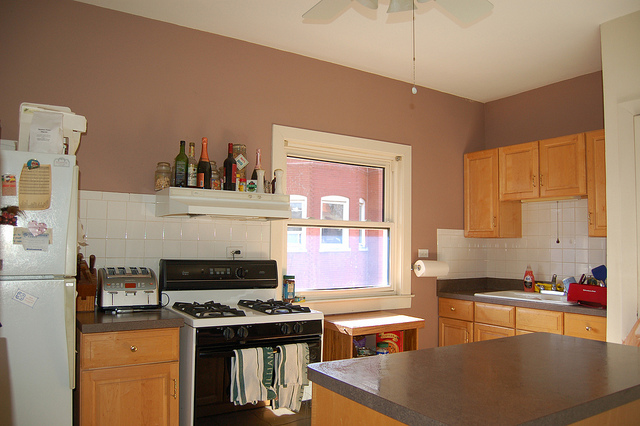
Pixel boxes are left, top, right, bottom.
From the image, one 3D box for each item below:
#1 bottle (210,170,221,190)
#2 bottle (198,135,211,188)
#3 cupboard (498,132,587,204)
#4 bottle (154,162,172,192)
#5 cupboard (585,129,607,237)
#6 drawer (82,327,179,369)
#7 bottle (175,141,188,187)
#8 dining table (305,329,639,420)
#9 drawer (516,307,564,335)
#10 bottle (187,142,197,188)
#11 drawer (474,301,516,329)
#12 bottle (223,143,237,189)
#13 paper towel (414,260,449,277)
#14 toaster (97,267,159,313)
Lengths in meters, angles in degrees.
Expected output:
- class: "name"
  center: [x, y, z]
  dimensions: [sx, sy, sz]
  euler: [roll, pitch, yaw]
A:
- class: "bottle"
  center: [-0.833, -0.268, 3.802]
  dimensions: [0.086, 0.155, 0.047]
  euler: [2, 0, -22]
- class: "bottle"
  center: [-0.921, -0.396, 3.784]
  dimensions: [0.118, 0.407, 0.118]
  euler: [2, 0, 0]
- class: "cupboard"
  center: [2.302, -0.421, 4.848]
  dimensions: [0.443, 0.570, 0.872]
  euler: [4, -5, -41]
- class: "bottle"
  center: [-1.218, -0.287, 3.777]
  dimensions: [0.112, 0.236, 0.216]
  euler: [2, 0, -37]
- class: "cupboard"
  center: [2.439, -0.270, 4.280]
  dimensions: [0.212, 0.860, 0.111]
  euler: [2, 0, 43]
- class: "drawer"
  center: [-1.272, 0.979, 3.322]
  dimensions: [0.616, 0.263, 0.409]
  euler: [-1, -31, -12]
- class: "bottle"
  center: [-1.074, -0.331, 3.707]
  dimensions: [0.093, 0.328, 0.063]
  euler: [2, 0, -19]
- class: "dining table"
  center: [0.799, 0.807, 2.321]
  dimensions: [1.182, 0.264, 0.616]
  euler: [1, -10, -28]
- class: "drawer"
  center: [1.980, 0.910, 4.313]
  dimensions: [0.220, 0.160, 0.325]
  euler: [6, -5, -32]
- class: "bottle"
  center: [-0.996, -0.370, 3.748]
  dimensions: [0.073, 0.352, 0.155]
  euler: [2, 0, -16]
- class: "drawer"
  center: [1.766, 0.986, 4.721]
  dimensions: [0.276, 0.202, 0.407]
  euler: [3, -2, -39]
- class: "bottle"
  center: [-0.724, -0.380, 3.926]
  dimensions: [0.107, 0.375, 0.134]
  euler: [2, 0, 18]
- class: "paper towel"
  center: [1.139, 0.577, 4.964]
  dimensions: [0.351, 0.164, 0.187]
  euler: [2, 0, -31]
- class: "toaster"
  center: [-1.416, 0.560, 3.539]
  dimensions: [0.410, 0.331, 0.254]
  euler: [2, 0, -24]
